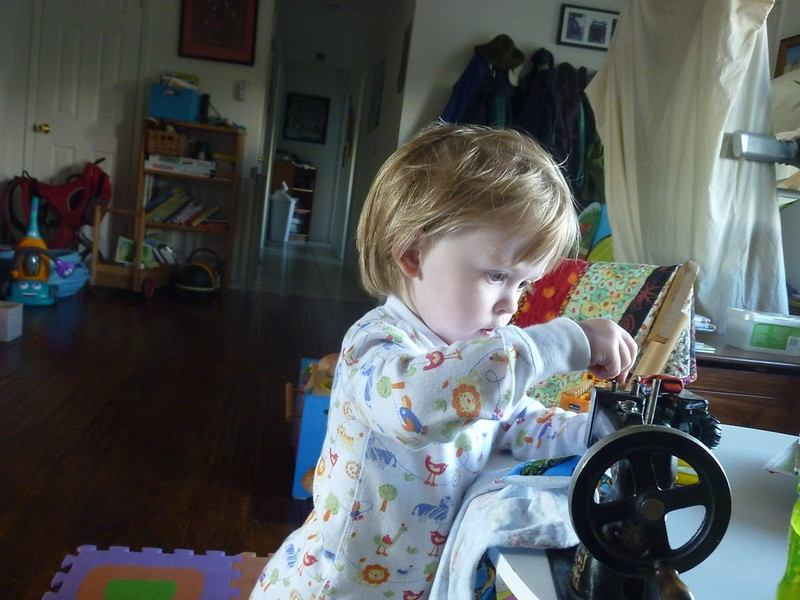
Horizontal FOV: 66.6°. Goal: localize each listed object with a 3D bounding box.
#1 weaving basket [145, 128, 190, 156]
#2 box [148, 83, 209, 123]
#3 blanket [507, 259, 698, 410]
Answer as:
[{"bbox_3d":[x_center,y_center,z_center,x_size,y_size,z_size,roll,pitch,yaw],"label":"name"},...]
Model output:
[{"bbox_3d":[-1.716,-1.124,4.462,0.249,0.164,0.183,-3,15,-32],"label":"weaving basket"},{"bbox_3d":[-1.650,-1.417,4.463,0.333,0.232,0.358,14,16,1],"label":"box"},{"bbox_3d":[0.596,0.137,1.713,0.419,0.463,0.198,15,-30,20],"label":"blanket"}]
